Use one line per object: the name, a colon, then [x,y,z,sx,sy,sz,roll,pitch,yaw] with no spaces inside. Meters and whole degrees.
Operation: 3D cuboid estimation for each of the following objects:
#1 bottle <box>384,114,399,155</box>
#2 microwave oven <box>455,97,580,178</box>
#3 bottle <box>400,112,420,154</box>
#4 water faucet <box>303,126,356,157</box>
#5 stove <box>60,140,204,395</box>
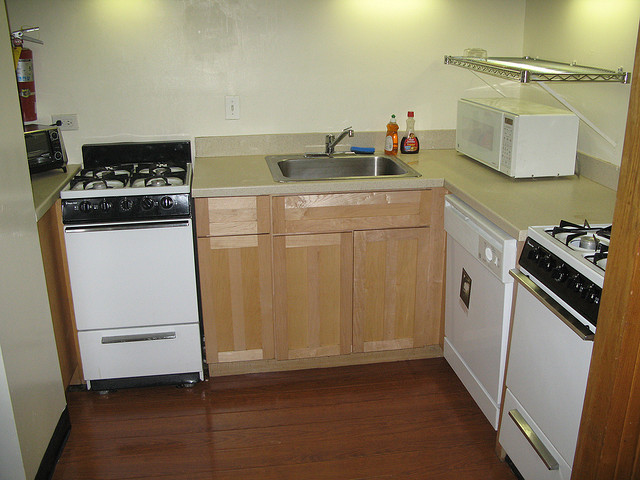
bottle: [0.452,-0.636,3.135,0.091,0.183,0.121,0,20,9]
microwave oven: [1.100,-0.600,2.838,0.383,0.330,0.706,-5,23,-9]
bottle: [0.579,-0.683,3.157,0.117,0.249,0.176,7,23,26]
water faucet: [0.056,-0.611,3.110,0.330,0.164,0.218,-2,20,2]
stove: [-0.995,0.169,2.836,0.837,1.257,0.816,3,13,16]
